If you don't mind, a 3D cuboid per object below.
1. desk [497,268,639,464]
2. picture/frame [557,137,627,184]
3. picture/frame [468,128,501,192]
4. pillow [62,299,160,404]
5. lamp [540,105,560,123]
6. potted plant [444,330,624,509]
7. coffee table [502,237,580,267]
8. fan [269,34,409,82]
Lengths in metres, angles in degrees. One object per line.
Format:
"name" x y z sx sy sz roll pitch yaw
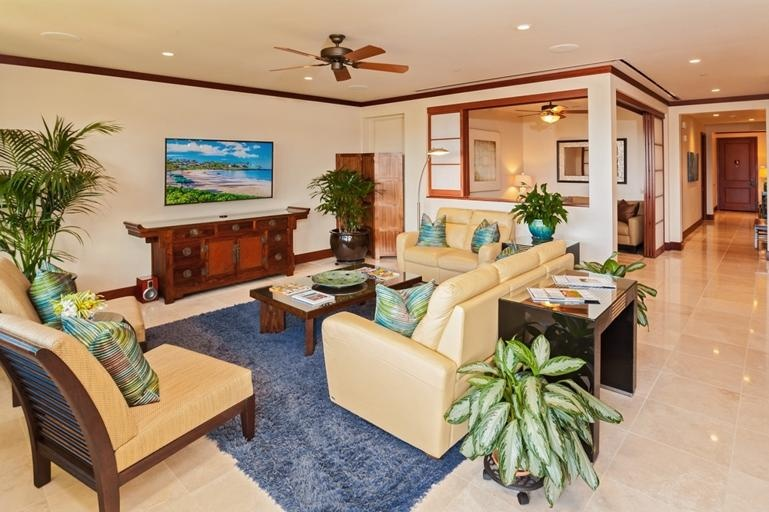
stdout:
"desk" 1.280 0.776 3.390 0.776 1.107 1.447 1 4 38
"picture/frame" 4.101 -1.913 9.551 1.347 0.878 0.304 4 11 24
"picture/frame" 1.914 -1.902 9.267 0.058 1.497 1.621 1 3 36
"pillow" -1.861 0.655 3.241 0.561 0.630 0.353 12 26 36
"lamp" 2.667 -2.292 7.794 0.354 0.154 0.345 4 11 24
"potted plant" 0.946 1.073 3.175 1.037 1.033 0.659 2 11 17
"coffee table" 1.611 -0.043 4.924 0.236 0.297 0.347 -12 15 -43
"fan" -0.262 -2.046 4.993 0.832 0.204 0.776 8 13 36
